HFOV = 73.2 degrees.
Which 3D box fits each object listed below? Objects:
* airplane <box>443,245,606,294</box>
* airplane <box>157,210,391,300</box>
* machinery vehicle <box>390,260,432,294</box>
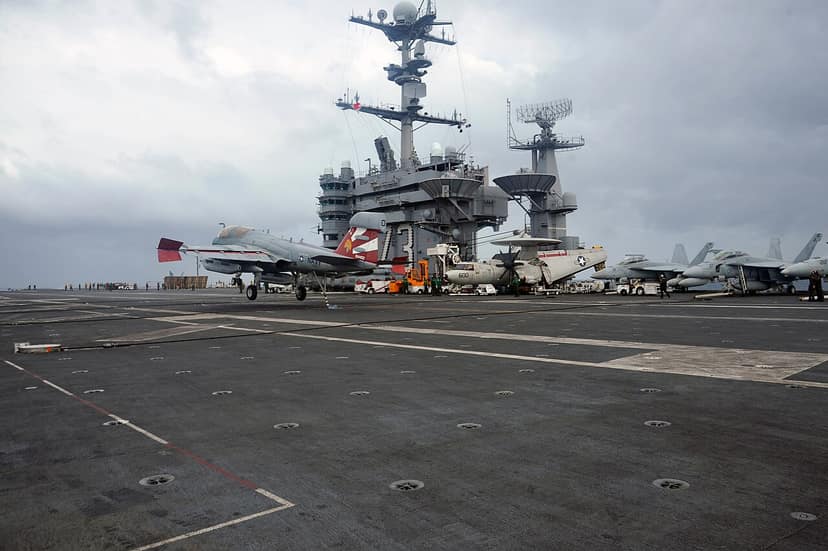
[{"bbox_3d":[10.506,-0.644,49.706,13.440,2.497,6.080,-2,-1,-6],"label":"airplane"},{"bbox_3d":[-7.821,-1.336,34.415,13.472,3.578,13.116,2,2,29],"label":"airplane"},{"bbox_3d":[0.946,0.441,54.923,5.358,2.403,2.955,-1,3,-18],"label":"machinery vehicle"}]
